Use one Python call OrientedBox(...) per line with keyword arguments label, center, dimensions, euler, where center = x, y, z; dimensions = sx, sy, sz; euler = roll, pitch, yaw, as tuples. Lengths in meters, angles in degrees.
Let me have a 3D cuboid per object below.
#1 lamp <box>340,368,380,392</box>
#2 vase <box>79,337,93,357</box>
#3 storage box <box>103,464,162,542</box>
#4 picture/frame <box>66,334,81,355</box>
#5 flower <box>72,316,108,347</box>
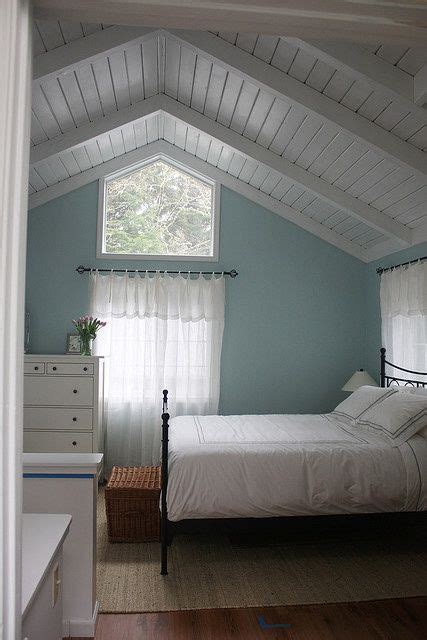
OrientedBox(label="lamp", center=(1.257, 0.520, 4.142), dimensions=(0.198, 0.183, 0.213), euler=(0, 1, 1))
OrientedBox(label="vase", center=(-1.054, 0.225, 4.094), dimensions=(0.122, 0.207, 0.134), euler=(-4, -5, 28))
OrientedBox(label="storage box", center=(-0.482, 1.138, 3.018), dimensions=(0.266, 0.298, 0.407), euler=(0, -2, -3))
OrientedBox(label="picture/frame", center=(-1.152, 0.200, 3.997), dimensions=(0.149, 0.234, 0.024), euler=(0, -8, -3))
OrientedBox(label="flower", center=(-1.042, 0.110, 4.104), dimensions=(0.229, 0.314, 0.244), euler=(4, -7, -21))
